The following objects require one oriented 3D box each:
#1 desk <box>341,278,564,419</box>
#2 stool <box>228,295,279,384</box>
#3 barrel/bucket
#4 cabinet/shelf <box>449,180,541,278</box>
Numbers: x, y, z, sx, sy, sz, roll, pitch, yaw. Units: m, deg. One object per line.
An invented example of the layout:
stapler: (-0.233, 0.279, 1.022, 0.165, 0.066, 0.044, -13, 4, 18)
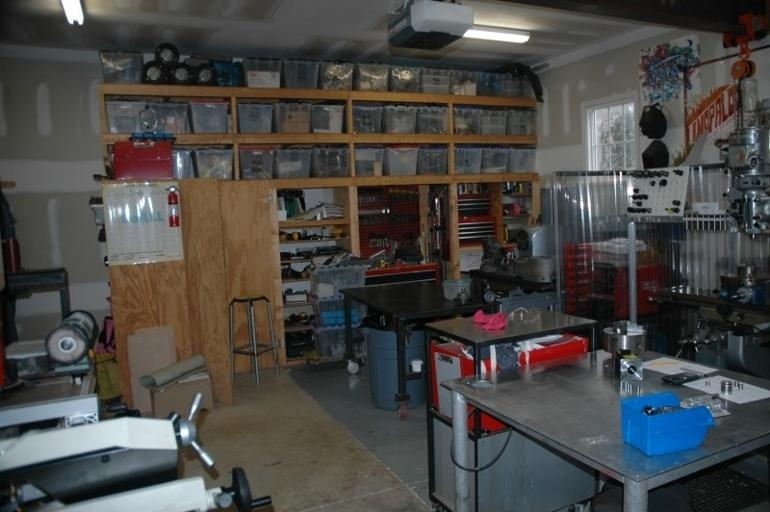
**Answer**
desk: (0.409, 0.592, 6.109, 1.189, 0.979, 2.048, -3, 5, -27)
stool: (-1.530, 0.951, 6.856, 0.550, 0.979, 0.691, -5, 4, -11)
barrel/bucket: (0.061, 1.097, 6.020, 0.875, 0.799, 0.809, 0, -1, 0)
cabinet/shelf: (1.507, -0.407, 8.094, 1.488, 1.317, 0.463, -2, 3, -25)
